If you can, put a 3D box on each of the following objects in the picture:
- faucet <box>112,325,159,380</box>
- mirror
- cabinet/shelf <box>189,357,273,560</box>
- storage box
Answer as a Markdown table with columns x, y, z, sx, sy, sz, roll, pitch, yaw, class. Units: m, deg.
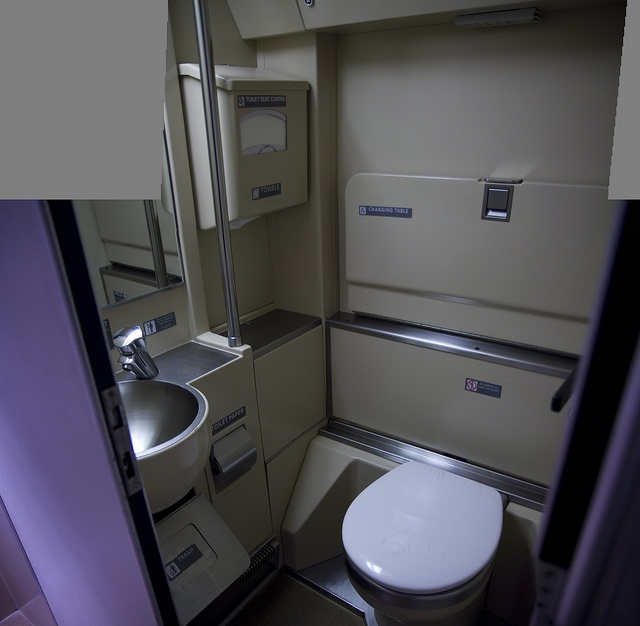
| x | y | z | sx | sy | sz | roll | pitch | yaw | class |
| --- | --- | --- | --- | --- | --- | --- | --- | --- | --- |
| -0.533 | 0.115 | 1.446 | 0.072 | 0.148 | 0.096 | 13 | 37 | 24 | faucet |
| -0.534 | -0.252 | 1.457 | 0.292 | 0.459 | 0.236 | -12 | 23 | -28 | mirror |
| -0.322 | 0.588 | 1.780 | 0.191 | 0.834 | 0.291 | 5 | 19 | 32 | cabinet/shelf |
| -0.223 | -0.566 | 1.717 | 0.184 | 0.498 | 0.473 | 13 | 25 | 33 | storage box |
